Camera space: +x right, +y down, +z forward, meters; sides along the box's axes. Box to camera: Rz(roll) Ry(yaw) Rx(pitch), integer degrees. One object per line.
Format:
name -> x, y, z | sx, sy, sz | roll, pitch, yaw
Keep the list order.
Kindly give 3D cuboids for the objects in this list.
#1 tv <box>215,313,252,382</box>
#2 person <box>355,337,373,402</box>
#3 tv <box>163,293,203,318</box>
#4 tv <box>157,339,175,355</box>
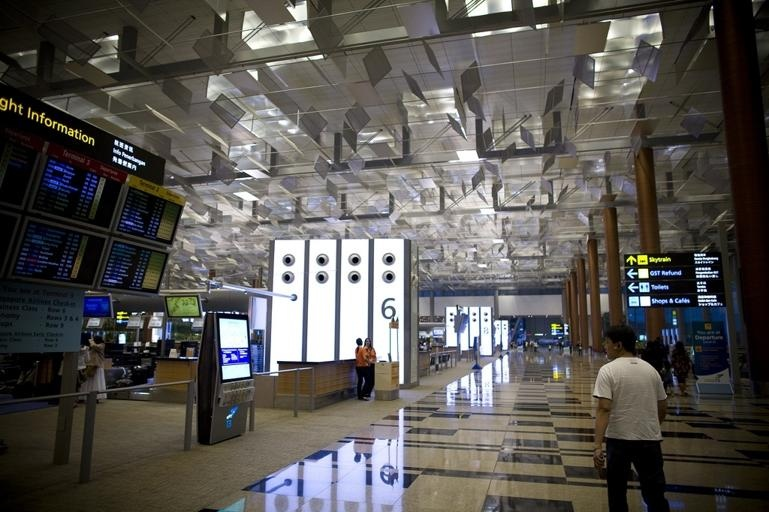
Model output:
tv -> -3.292, 1.977, 10.573 | 0.205, 1.501, 1.389 | -8, -12, 18
person -> -0.692, 3.535, 15.543 | 0.472, 1.868, 0.652 | 1, -10, -2
tv -> -7.731, 1.866, 18.829 | 1.470, 0.862, 0.427 | -2, -11, 14
tv -> -8.148, 3.407, 18.464 | 0.515, 0.558, 4.185 | 5, -11, -22
